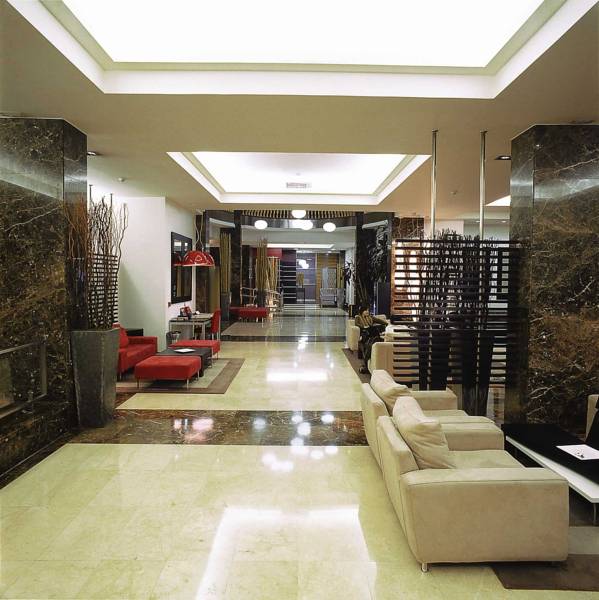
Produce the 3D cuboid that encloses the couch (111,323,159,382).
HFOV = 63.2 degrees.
[{"bbox_3d":[-2.562,0.828,7.501,0.480,0.490,0.944,1,4,-2],"label":"couch"}]

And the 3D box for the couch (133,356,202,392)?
[{"bbox_3d":[-1.974,1.080,7.233,0.868,0.404,0.823,0,4,-4],"label":"couch"}]

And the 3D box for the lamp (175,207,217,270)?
[{"bbox_3d":[-2.221,-1.209,9.842,1.039,1.143,1.097,1,0,-4],"label":"lamp"}]

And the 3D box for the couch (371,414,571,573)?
[{"bbox_3d":[1.041,1.027,3.069,0.636,0.456,1.109,-2,1,-1],"label":"couch"}]

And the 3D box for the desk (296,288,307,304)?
[{"bbox_3d":[0.052,-0.253,26.387,0.894,0.899,0.668,0,1,-3],"label":"desk"}]

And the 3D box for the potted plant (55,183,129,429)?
[{"bbox_3d":[-2.303,0.120,5.474,0.462,2.539,0.638,0,4,-9],"label":"potted plant"}]
